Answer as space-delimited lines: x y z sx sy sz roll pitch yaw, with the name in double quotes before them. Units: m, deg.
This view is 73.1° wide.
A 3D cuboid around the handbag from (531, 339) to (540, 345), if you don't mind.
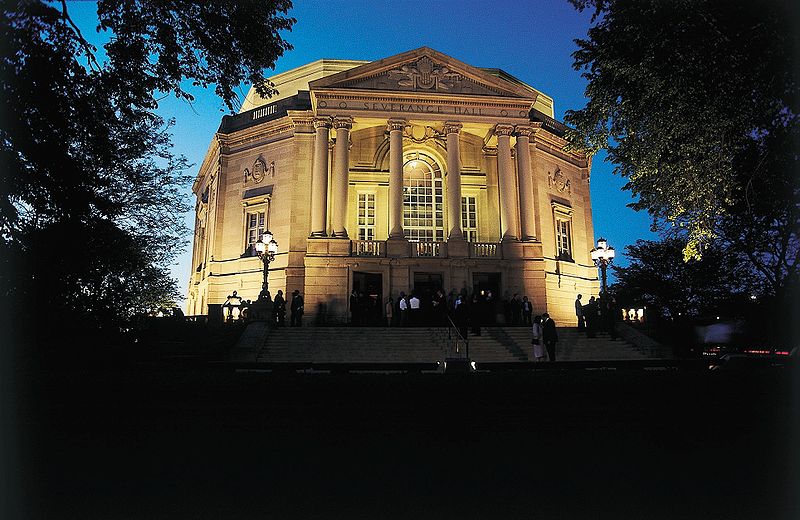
"handbag" 4.903 2.949 19.443 0.211 0.148 0.208 0 1 -13
